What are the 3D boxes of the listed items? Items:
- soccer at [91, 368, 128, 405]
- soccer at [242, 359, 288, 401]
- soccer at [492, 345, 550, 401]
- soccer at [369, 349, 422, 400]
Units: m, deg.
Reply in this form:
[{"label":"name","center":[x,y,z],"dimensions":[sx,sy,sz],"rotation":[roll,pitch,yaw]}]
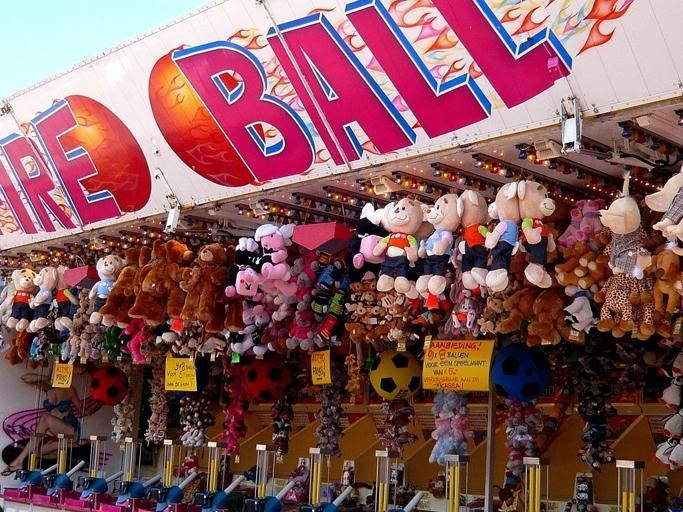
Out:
[{"label":"soccer","center":[-3.494,1.958,10.019],"dimensions":[0.453,0.457,0.528],"rotation":[13,15,2]},{"label":"soccer","center":[-0.933,1.590,8.528],"dimensions":[0.541,0.725,0.542],"rotation":[3,-21,5]},{"label":"soccer","center":[1.715,1.090,6.431],"dimensions":[0.441,0.488,0.438],"rotation":[-29,-3,-14]},{"label":"soccer","center":[0.598,1.228,7.438],"dimensions":[0.526,0.566,0.566],"rotation":[4,3,44]}]
